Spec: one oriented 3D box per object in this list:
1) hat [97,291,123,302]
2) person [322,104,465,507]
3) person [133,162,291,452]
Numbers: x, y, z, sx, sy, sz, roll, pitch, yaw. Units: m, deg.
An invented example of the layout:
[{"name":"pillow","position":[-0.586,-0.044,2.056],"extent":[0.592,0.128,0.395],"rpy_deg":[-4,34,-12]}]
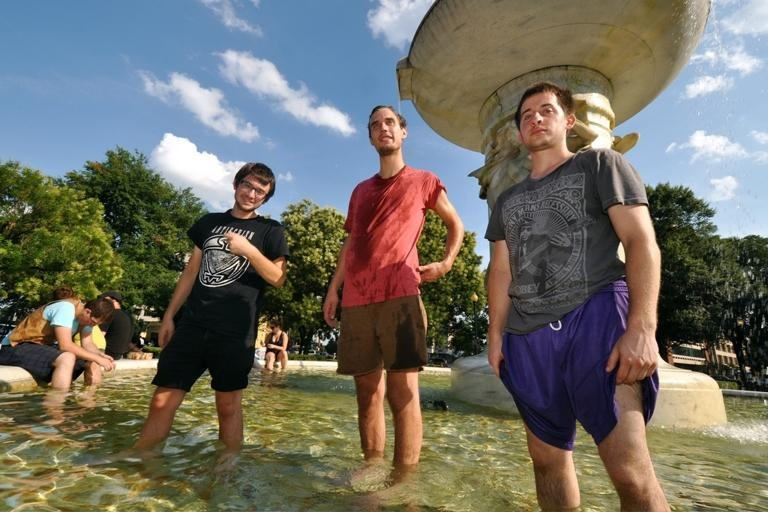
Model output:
[{"name":"hat","position":[-5.647,0.812,8.376],"extent":[0.409,0.329,0.588],"rpy_deg":[13,-9,-29]},{"name":"person","position":[0.100,0.193,3.904],"extent":[1.104,3.473,0.975],"rpy_deg":[7,-15,-13]},{"name":"person","position":[-1.636,0.404,4.033],"extent":[1.225,2.803,0.628],"rpy_deg":[-1,-15,16]}]
